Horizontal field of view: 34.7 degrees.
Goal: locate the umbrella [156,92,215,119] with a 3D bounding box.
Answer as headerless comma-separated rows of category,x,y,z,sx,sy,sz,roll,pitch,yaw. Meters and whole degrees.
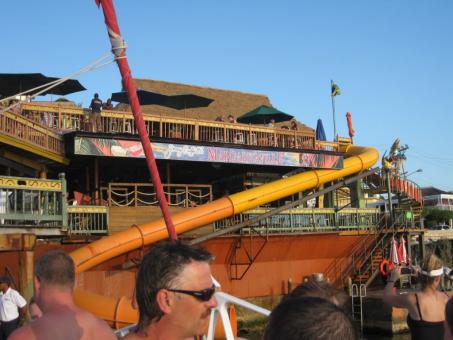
umbrella,-1.732,-2.742,30.047,2.073,0.558,1.576,5,-10,-35

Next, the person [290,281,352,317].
person,1.880,2.270,14.062,0.922,0.462,0.806,2,23,35

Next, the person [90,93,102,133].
person,-4.762,-2.032,26.226,0.404,1.498,1.022,1,-8,-12
